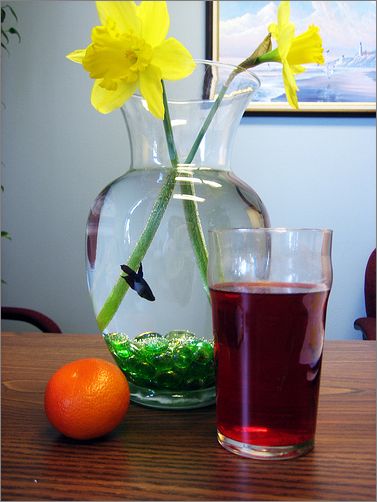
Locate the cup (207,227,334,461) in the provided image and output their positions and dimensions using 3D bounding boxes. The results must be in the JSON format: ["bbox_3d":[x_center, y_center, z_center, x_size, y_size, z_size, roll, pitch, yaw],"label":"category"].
[{"bbox_3d":[0.057,0.067,0.326,0.085,0.145,0.038,1,0,17],"label":"cup"}]

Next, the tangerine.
[{"bbox_3d":[-0.078,0.116,0.348,0.060,0.048,0.059,0,-2,1],"label":"tangerine"}]
